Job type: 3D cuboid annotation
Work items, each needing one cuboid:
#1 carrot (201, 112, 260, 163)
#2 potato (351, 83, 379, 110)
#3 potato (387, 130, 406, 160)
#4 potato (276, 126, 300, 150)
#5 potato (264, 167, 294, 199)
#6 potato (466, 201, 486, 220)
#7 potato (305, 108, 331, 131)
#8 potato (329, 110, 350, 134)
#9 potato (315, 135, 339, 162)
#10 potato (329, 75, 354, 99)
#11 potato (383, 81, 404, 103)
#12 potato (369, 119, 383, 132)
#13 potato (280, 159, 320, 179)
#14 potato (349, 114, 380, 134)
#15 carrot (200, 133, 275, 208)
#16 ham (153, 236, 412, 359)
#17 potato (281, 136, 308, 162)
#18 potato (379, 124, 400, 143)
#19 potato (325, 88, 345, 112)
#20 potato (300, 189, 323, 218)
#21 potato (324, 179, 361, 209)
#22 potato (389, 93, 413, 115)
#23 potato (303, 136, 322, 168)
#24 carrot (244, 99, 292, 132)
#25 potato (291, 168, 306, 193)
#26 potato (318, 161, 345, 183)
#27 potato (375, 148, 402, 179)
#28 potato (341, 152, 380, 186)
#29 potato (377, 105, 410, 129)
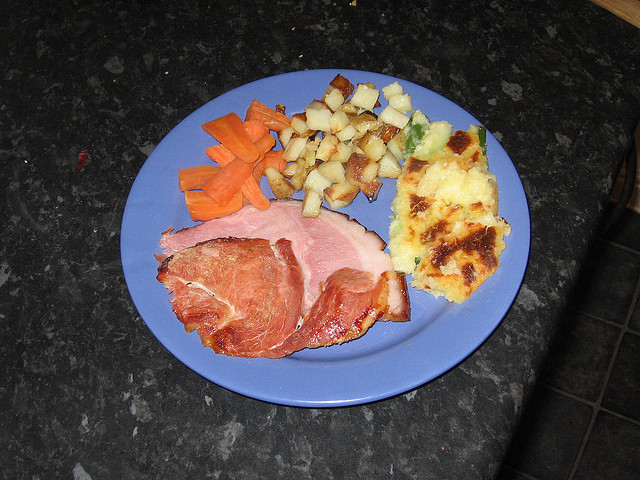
[{"bbox_3d":[-0.302,-0.358,2.169,0.125,0.245,0.060,-23,56,12],"label":"carrot"},{"bbox_3d":[0.158,-0.498,2.165,0.083,0.038,0.080,27,86,2],"label":"potato"},{"bbox_3d":[0.274,-0.334,2.175,0.056,0.020,0.093,-5,91,18],"label":"potato"},{"bbox_3d":[-0.119,-0.364,2.212,0.064,0.021,0.079,-3,99,27],"label":"potato"},{"bbox_3d":[-0.132,-0.189,2.219,0.064,0.131,0.027,-14,123,18],"label":"potato"},{"bbox_3d":[0.507,-0.091,1.997,0.056,0.026,0.051,-24,86,-2],"label":"potato"},{"bbox_3d":[-0.006,-0.419,2.168,0.087,0.040,0.067,0,85,-1],"label":"potato"},{"bbox_3d":[0.065,-0.410,2.155,0.069,0.064,0.063,-39,78,-16],"label":"potato"},{"bbox_3d":[0.028,-0.314,2.161,0.056,0.021,0.094,19,91,0],"label":"potato"},{"bbox_3d":[0.076,-0.545,2.221,0.030,0.064,0.086,-43,75,30],"label":"potato"},{"bbox_3d":[0.254,-0.513,2.163,0.051,0.036,0.060,5,77,29],"label":"potato"},{"bbox_3d":[0.205,-0.396,2.162,0.028,0.041,0.011,5,57,-13],"label":"potato"},{"bbox_3d":[-0.071,-0.242,2.202,0.110,0.030,0.071,-21,71,25],"label":"potato"},{"bbox_3d":[0.156,-0.408,2.161,0.074,0.023,0.073,-36,63,-11],"label":"potato"},{"bbox_3d":[-0.271,-0.242,2.146,0.315,0.087,0.096,-43,87,-4],"label":"carrot"},{"bbox_3d":[-0.113,0.177,2.013,0.662,0.105,0.450,-5,66,-7],"label":"ham"},{"bbox_3d":[-0.093,-0.318,2.181,0.058,0.025,0.100,30,93,15],"label":"potato"},{"bbox_3d":[0.243,-0.374,2.169,0.068,0.017,0.045,-42,111,16],"label":"potato"},{"bbox_3d":[0.053,-0.494,2.187,0.066,0.023,0.062,-44,87,-4],"label":"potato"},{"bbox_3d":[-0.012,-0.131,2.185,0.042,0.123,0.111,-30,104,-20],"label":"potato"},{"bbox_3d":[0.074,-0.159,2.143,0.107,0.043,0.083,-33,77,-6],"label":"potato"},{"bbox_3d":[0.286,-0.475,2.160,0.068,0.028,0.069,12,85,-2],"label":"potato"},{"bbox_3d":[-0.031,-0.308,2.165,0.049,0.023,0.095,14,89,-18],"label":"potato"},{"bbox_3d":[-0.184,-0.438,2.194,0.144,0.061,0.094,22,66,-10],"label":"carrot"},{"bbox_3d":[-0.077,-0.209,2.189,0.057,0.018,0.064,-42,46,24],"label":"potato"},{"bbox_3d":[0.044,-0.235,2.141,0.068,0.029,0.082,1,104,11],"label":"potato"},{"bbox_3d":[0.246,-0.255,2.090,0.098,0.039,0.093,3,93,-8],"label":"potato"},{"bbox_3d":[0.143,-0.239,2.131,0.107,0.037,0.115,29,86,2],"label":"potato"},{"bbox_3d":[0.256,-0.425,2.154,0.091,0.025,0.067,26,89,1],"label":"potato"}]
